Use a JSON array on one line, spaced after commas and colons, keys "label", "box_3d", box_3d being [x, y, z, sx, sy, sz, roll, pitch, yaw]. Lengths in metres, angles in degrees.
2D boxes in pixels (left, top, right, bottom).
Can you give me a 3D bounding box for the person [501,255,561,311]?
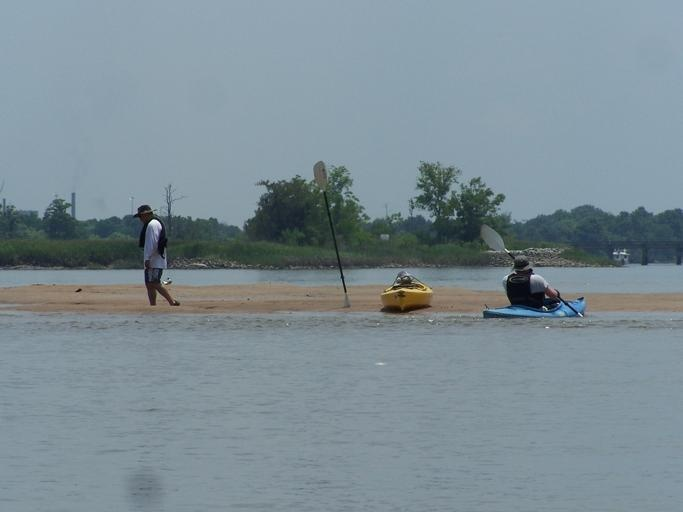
[{"label": "person", "box_3d": [4.590, 0.650, 35.320, 1.117, 1.449, 1.618, 4, 7, 30]}]
